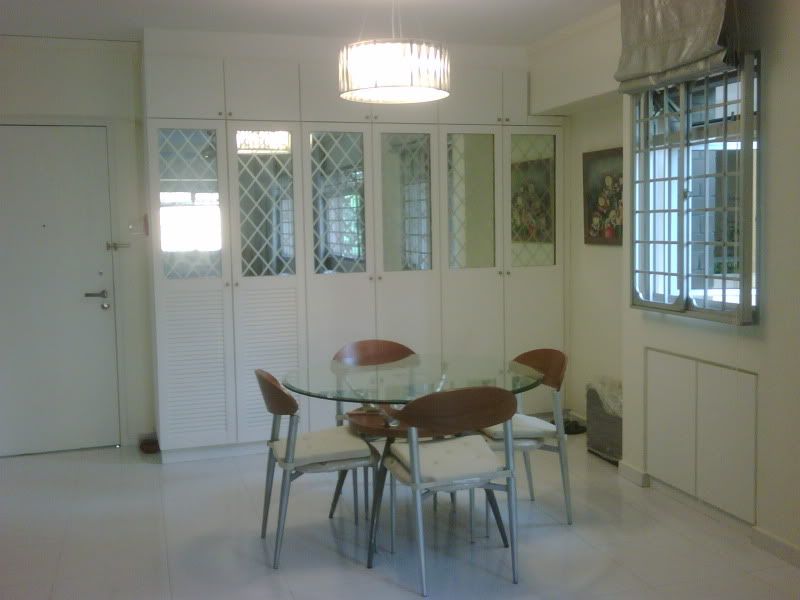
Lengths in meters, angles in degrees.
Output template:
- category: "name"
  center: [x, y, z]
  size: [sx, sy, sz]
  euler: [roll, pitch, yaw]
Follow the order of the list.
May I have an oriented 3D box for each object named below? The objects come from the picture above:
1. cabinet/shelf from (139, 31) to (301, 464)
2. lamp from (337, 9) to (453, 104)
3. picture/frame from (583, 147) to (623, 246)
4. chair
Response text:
- category: "cabinet/shelf"
  center: [-1.305, -0.432, 4.763]
  size: [1.102, 2.999, 0.397]
  euler: [-3, 11, -11]
- category: "lamp"
  center: [-0.029, -1.183, 3.390]
  size: [0.442, 0.530, 0.430]
  euler: [-2, 3, -40]
- category: "picture/frame"
  center: [1.590, -0.805, 4.998]
  size: [0.077, 0.752, 0.475]
  euler: [-4, 11, -17]
- category: "chair"
  center: [-0.018, 0.732, 3.409]
  size: [1.159, 0.798, 1.239]
  euler: [0, 4, 2]
